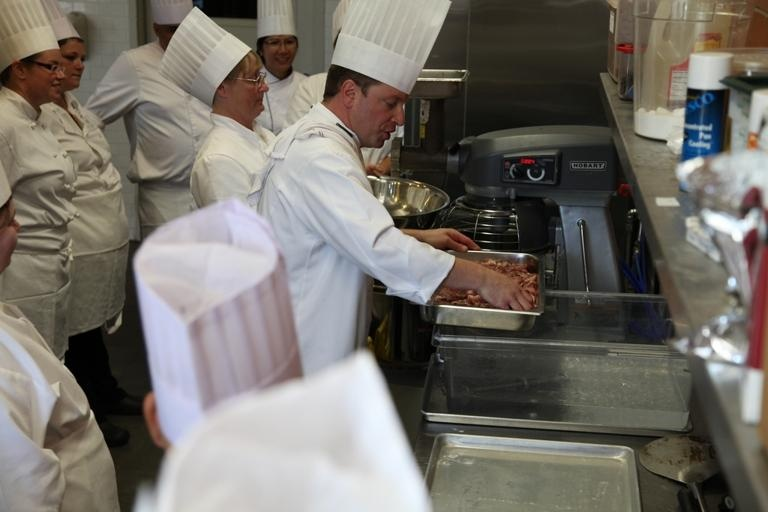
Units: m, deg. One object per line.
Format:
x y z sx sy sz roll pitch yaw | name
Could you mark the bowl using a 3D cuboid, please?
0.100 -0.309 3.273 0.513 0.157 0.505 16 1 0 | bowl
